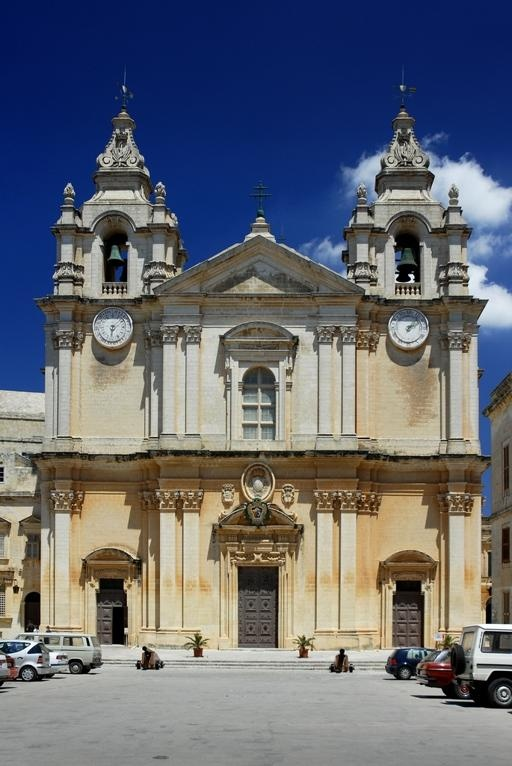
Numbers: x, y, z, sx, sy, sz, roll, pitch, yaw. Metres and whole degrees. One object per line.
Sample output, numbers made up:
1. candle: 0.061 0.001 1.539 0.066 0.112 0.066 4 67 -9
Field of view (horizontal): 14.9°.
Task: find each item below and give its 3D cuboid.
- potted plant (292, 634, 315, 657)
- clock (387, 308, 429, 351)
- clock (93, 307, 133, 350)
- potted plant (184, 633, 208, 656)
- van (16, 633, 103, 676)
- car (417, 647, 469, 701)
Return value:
1. potted plant: 1.724 8.813 65.846 0.666 0.755 0.636 4 -7 -15
2. clock: 5.557 -1.966 70.996 1.401 1.807 0.187 0 -19 5
3. clock: -5.251 -1.983 71.451 1.386 1.788 0.241 0 -19 1
4. potted plant: -2.061 8.859 66.343 0.663 0.639 0.690 -5 -8 28
5. van: -6.027 8.214 60.778 2.290 1.132 1.261 4 -26 1
6. car: 5.125 8.064 53.914 1.465 0.696 0.842 -1 -10 -9
